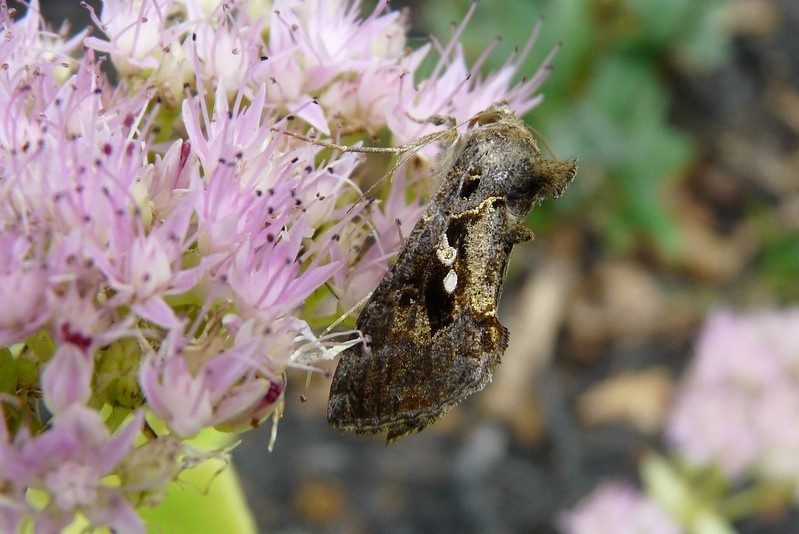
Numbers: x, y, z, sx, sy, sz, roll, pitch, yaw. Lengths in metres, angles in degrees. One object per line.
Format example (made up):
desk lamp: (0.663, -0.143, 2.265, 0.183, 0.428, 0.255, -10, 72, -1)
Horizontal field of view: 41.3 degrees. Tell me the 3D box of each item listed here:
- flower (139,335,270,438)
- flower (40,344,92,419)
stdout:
flower: (-0.443, 0.289, 2.388, 0.243, 0.278, 0.164, 6, 81, -32)
flower: (-0.707, 0.234, 2.237, 0.103, 0.055, 0.125, -21, 77, -8)
